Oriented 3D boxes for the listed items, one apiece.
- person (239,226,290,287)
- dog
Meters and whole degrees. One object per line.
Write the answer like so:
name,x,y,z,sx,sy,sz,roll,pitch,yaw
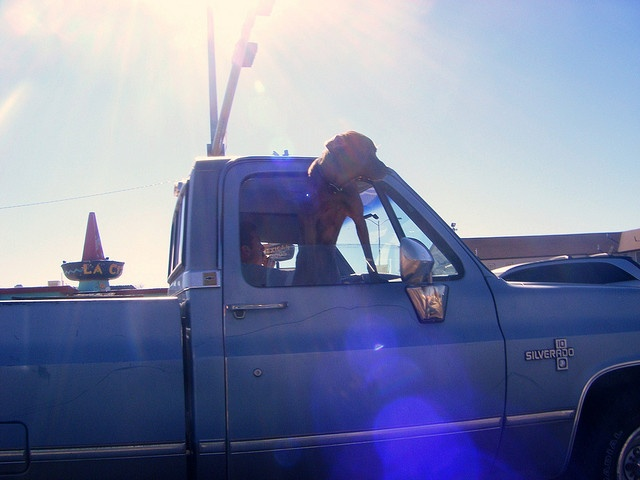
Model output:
person,-0.442,0.022,4.029,0.403,0.240,0.735,-4,15,0
dog,0.099,-0.244,3.985,0.342,0.814,1.327,-5,-8,-22
